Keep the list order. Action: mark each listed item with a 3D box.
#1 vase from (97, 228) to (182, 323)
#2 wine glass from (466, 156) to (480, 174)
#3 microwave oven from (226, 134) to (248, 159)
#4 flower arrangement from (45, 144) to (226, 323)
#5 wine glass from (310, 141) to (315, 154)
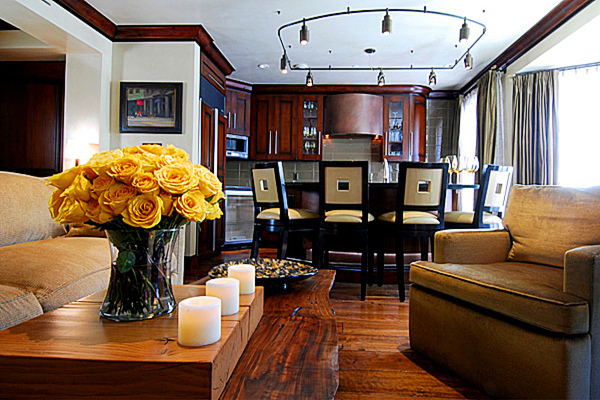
[{"bbox_3d":[-0.811,0.363,2.282,0.375,0.438,0.364,2,0,-32],"label":"vase"},{"bbox_3d":[1.801,-0.375,4.788,0.135,0.159,0.170,3,7,15],"label":"wine glass"},{"bbox_3d":[-1.065,-0.852,7.124,0.460,0.284,0.248,1,5,-42],"label":"microwave oven"},{"bbox_3d":[-0.848,0.167,2.439,0.894,0.808,0.852,2,-4,-26],"label":"flower arrangement"},{"bbox_3d":[0.194,-0.863,7.340,0.069,0.191,0.026,1,4,-1],"label":"wine glass"}]
